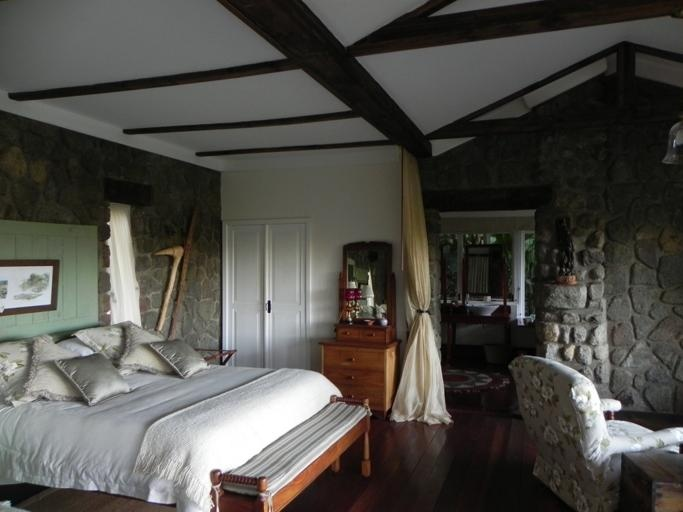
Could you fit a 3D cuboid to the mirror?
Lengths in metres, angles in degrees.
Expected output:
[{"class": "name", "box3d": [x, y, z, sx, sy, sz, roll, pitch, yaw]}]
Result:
[{"class": "mirror", "box3d": [0.331, 0.336, 6.142, 0.734, 1.050, 0.205, 1, 3, 19]}]

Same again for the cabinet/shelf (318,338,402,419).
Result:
[{"class": "cabinet/shelf", "box3d": [0.307, 1.357, 6.038, 1.146, 1.157, 0.757, -1, -5, 19]}]
